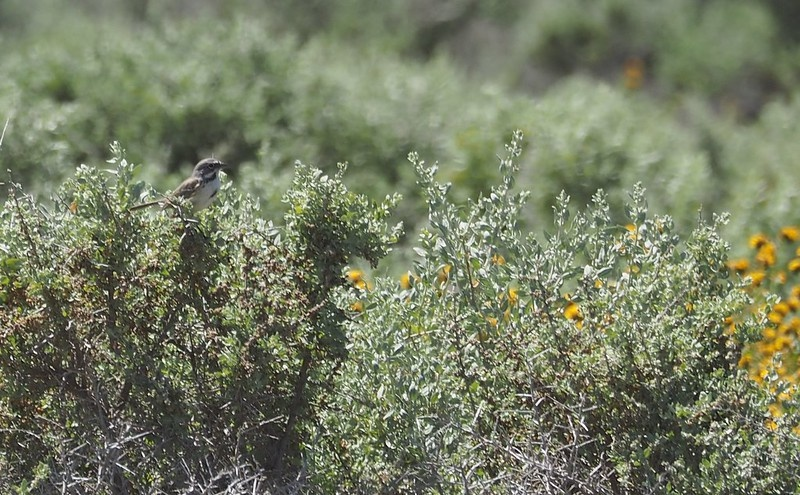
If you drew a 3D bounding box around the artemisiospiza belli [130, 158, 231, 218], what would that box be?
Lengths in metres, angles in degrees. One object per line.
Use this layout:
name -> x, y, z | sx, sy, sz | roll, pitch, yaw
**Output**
artemisiospiza belli -> -1.384, -0.365, 7.600 | 0.758, 0.211, 0.368 | -2, 94, 29
